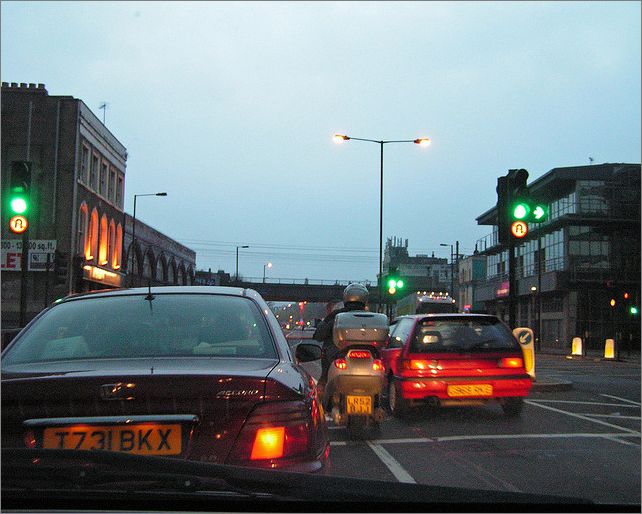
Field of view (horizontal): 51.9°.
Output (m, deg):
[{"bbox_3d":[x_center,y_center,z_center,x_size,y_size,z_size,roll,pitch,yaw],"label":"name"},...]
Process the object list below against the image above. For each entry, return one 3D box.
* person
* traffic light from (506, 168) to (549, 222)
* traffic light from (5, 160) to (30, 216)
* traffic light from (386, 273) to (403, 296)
[{"bbox_3d":[0.246,0.786,8.064,0.641,0.932,1.334,4,-9,1],"label":"person"},{"bbox_3d":[4.175,-1.223,13.454,0.718,0.884,0.939,4,-2,27],"label":"traffic light"},{"bbox_3d":[-6.245,-1.440,13.714,0.412,1.242,0.565,5,-1,-27],"label":"traffic light"},{"bbox_3d":[3.594,1.430,34.115,0.923,1.066,0.411,-3,1,-37],"label":"traffic light"}]
